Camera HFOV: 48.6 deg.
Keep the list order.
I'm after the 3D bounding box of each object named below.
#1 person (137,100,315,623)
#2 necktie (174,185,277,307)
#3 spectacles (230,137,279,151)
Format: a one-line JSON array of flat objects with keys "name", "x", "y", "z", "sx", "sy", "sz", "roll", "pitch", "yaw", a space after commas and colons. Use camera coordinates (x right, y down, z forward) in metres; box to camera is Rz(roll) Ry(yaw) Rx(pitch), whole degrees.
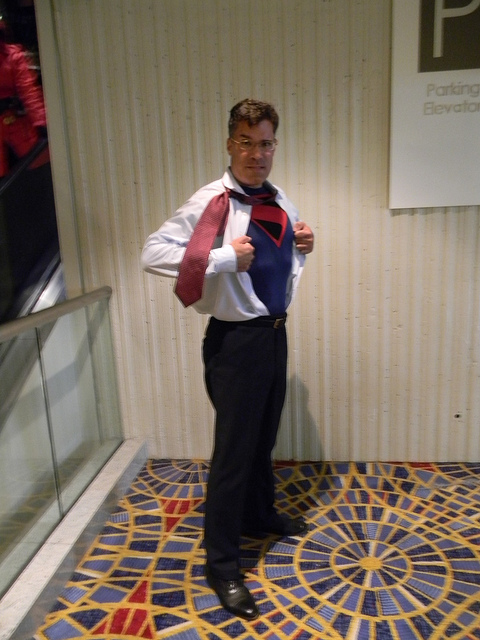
[{"name": "person", "x": -0.043, "y": 0.129, "z": 1.882, "sx": 0.459, "sy": 1.716, "sz": 0.757, "roll": 6, "pitch": 20, "yaw": 20}, {"name": "necktie", "x": -0.052, "y": -0.247, "z": 1.701, "sx": 0.215, "sy": 0.654, "sz": 0.096, "roll": 7, "pitch": 50, "yaw": -17}, {"name": "spectacles", "x": 0.040, "y": -0.598, "z": 1.799, "sx": 0.153, "sy": 0.045, "sz": 0.087, "roll": 0, "pitch": 17, "yaw": 2}]
